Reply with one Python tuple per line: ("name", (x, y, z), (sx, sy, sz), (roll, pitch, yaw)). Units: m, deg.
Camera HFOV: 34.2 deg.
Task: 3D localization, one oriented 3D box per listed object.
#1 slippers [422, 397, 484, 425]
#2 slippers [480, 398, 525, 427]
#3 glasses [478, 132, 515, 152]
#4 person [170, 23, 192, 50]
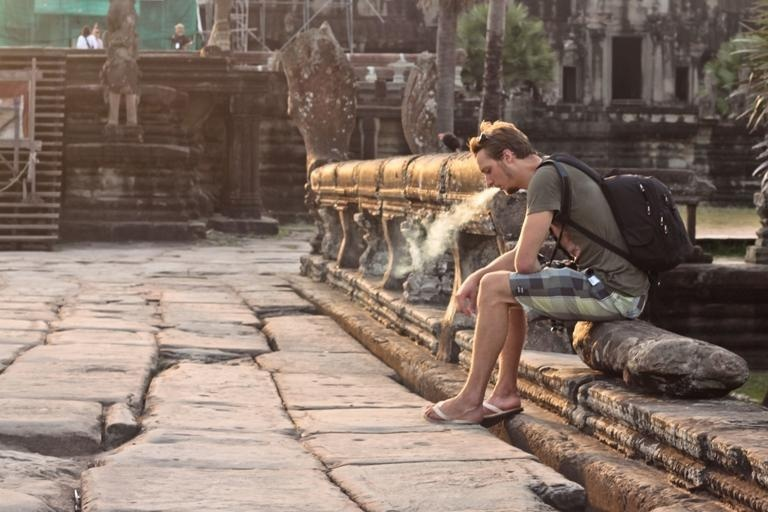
("slippers", (0.526, 1.192, 9.540), (0.376, 0.092, 0.187), (3, 0, 10))
("slippers", (0.877, 1.211, 9.576), (0.394, 0.102, 0.136), (-15, -25, -4))
("glasses", (0.827, -0.881, 9.446), (0.161, 0.044, 0.154), (8, -13, 28))
("person", (-4.711, -5.183, 29.095), (0.348, 0.657, 1.210), (-3, 5, -9))
